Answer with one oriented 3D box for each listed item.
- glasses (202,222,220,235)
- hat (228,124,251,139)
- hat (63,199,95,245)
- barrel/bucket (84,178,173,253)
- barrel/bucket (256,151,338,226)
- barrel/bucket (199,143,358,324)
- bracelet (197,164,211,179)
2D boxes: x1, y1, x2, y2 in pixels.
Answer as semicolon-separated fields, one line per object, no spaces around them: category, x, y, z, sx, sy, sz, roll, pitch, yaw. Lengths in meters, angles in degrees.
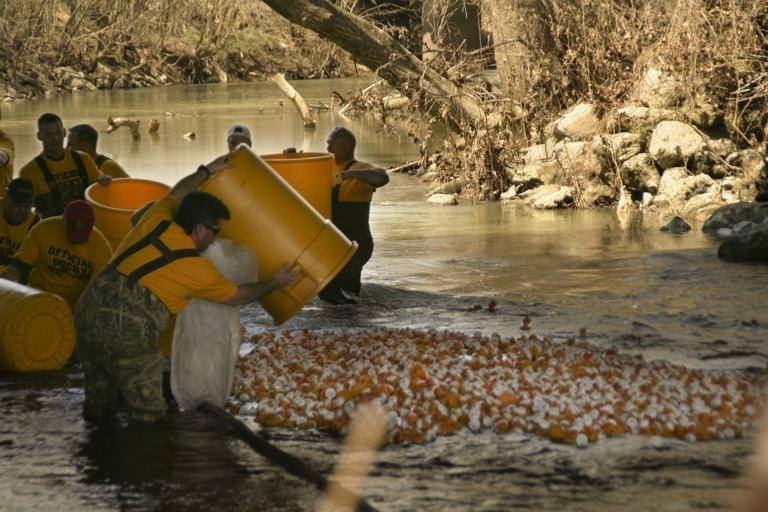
glasses;-1.893;-0.317;12.351;0.039;0.121;0.121;-19;-3;23
hat;-1.846;-1.686;14.994;0.263;0.179;0.413;6;5;13
hat;-3.622;-0.393;13.298;0.348;0.494;0.275;4;-17;-19
barrel/bucket;-3.184;-0.643;13.804;0.944;0.760;1.005;6;19;-2
barrel/bucket;-1.117;-0.890;14.536;0.941;0.933;0.907;-1;16;0
barrel/bucket;-1.263;-0.247;13.252;1.320;1.803;1.194;-49;3;-33
bracelet;-2.052;-0.970;12.728;0.061;0.103;0.145;-38;-47;27
